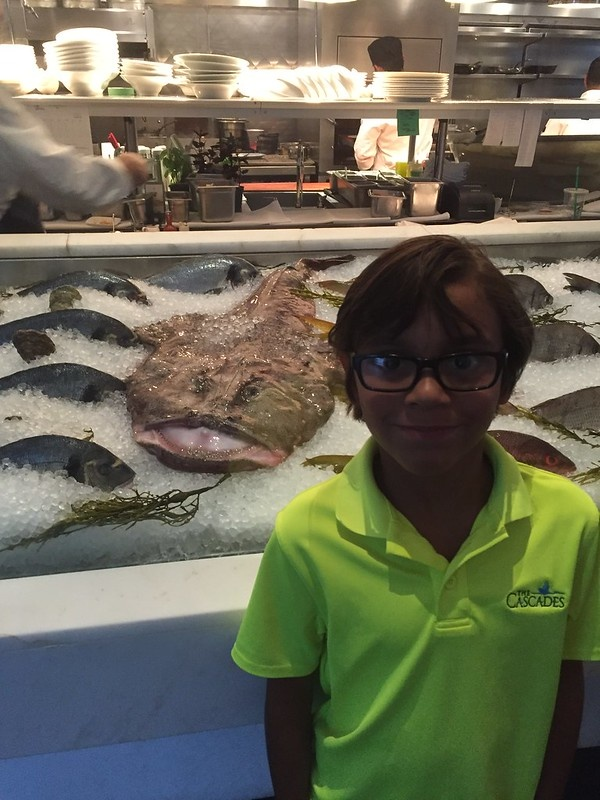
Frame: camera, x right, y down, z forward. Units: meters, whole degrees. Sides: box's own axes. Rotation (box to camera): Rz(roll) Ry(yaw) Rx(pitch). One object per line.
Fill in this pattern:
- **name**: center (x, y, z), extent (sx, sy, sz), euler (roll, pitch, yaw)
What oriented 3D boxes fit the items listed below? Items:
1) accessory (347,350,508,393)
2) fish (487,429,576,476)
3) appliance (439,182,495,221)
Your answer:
- **accessory**: center (0.105, -0.022, 0.504), extent (0.125, 0.036, 0.036), euler (1, 22, 7)
- **fish**: center (0.313, 0.072, 0.823), extent (0.129, 0.027, 0.044), euler (22, 46, 19)
- **appliance**: center (0.840, -1.013, 3.096), extent (0.193, 0.141, 0.294), euler (-5, 26, -5)
